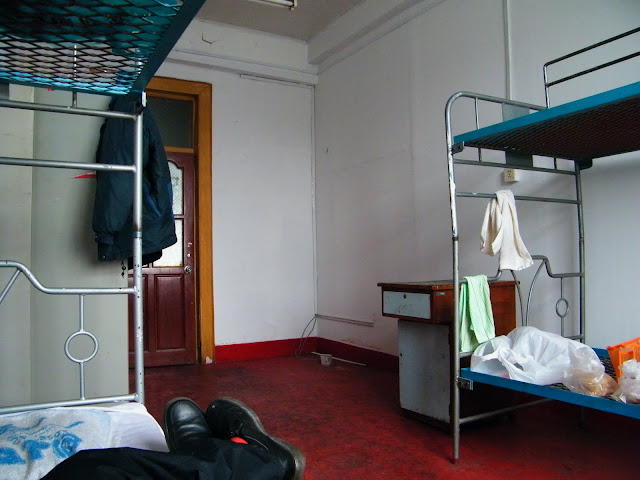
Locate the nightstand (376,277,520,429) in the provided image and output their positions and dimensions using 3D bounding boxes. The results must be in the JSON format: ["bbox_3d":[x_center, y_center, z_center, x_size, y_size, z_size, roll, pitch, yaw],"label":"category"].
[{"bbox_3d":[0.874,0.734,3.489,0.727,0.909,0.687,-1,-2,-33],"label":"nightstand"}]
